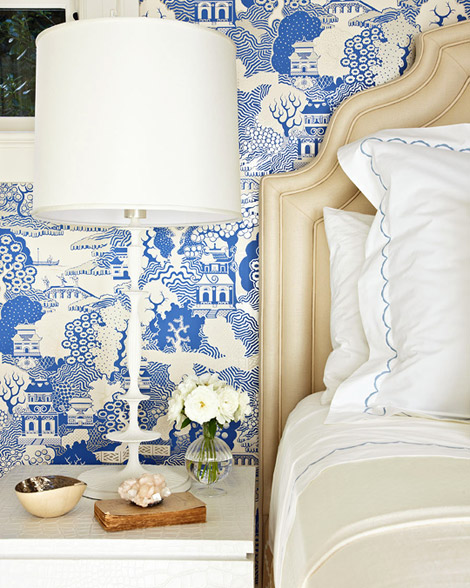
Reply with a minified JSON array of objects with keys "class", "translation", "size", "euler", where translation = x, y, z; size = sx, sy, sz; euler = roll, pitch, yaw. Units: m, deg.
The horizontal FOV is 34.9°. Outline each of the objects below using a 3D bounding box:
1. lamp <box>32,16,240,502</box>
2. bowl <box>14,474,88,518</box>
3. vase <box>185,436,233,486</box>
[{"class":"lamp","translation":[-0.180,-0.037,1.444],"size":[0.387,0.896,0.365],"euler":[0,11,15]},{"class":"bowl","translation":[-0.332,0.362,1.339],"size":[0.091,0.039,0.095],"euler":[1,-14,0]},{"class":"vase","translation":[-0.055,0.346,1.558],"size":[0.105,0.098,0.102],"euler":[-2,3,-41]}]
